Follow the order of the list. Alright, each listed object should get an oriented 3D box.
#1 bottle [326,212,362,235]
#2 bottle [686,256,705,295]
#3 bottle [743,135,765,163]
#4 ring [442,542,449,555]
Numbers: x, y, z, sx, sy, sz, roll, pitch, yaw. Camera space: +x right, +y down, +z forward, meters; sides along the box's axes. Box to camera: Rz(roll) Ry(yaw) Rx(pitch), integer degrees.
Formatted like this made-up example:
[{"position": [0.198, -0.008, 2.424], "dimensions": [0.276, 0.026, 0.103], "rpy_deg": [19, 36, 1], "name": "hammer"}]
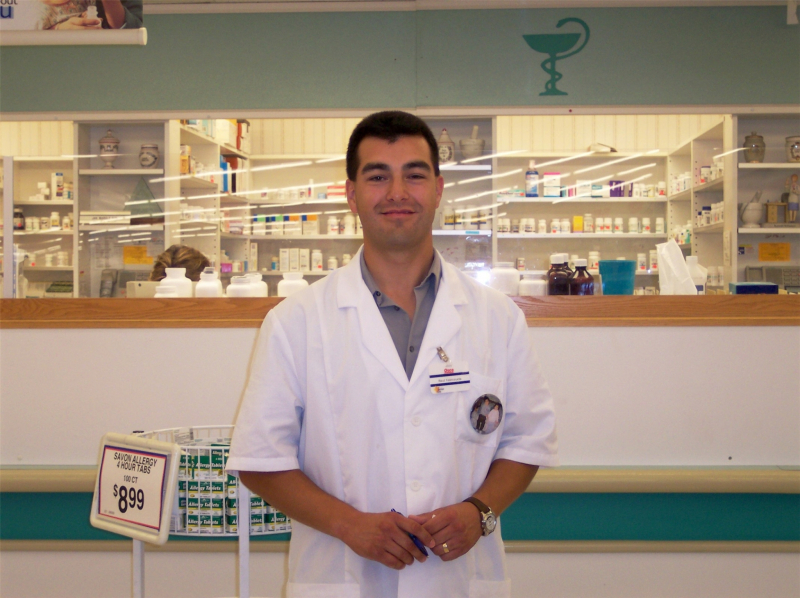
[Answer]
[{"position": [-0.431, -0.592, 8.185], "dimensions": [0.271, 0.259, 0.149], "rpy_deg": [-1, 2, 1], "name": "bottle"}, {"position": [1.657, -0.143, 5.931], "dimensions": [0.107, 0.217, 0.469], "rpy_deg": [-1, 0, 16], "name": "bottle"}, {"position": [2.433, -1.054, 7.298], "dimensions": [0.139, 0.202, 0.064], "rpy_deg": [-1, 0, 15], "name": "bottle"}, {"position": [0.178, 0.988, 4.166], "dimensions": [0.011, 0.036, 0.027], "rpy_deg": [-14, -12, 25], "name": "ring"}]
